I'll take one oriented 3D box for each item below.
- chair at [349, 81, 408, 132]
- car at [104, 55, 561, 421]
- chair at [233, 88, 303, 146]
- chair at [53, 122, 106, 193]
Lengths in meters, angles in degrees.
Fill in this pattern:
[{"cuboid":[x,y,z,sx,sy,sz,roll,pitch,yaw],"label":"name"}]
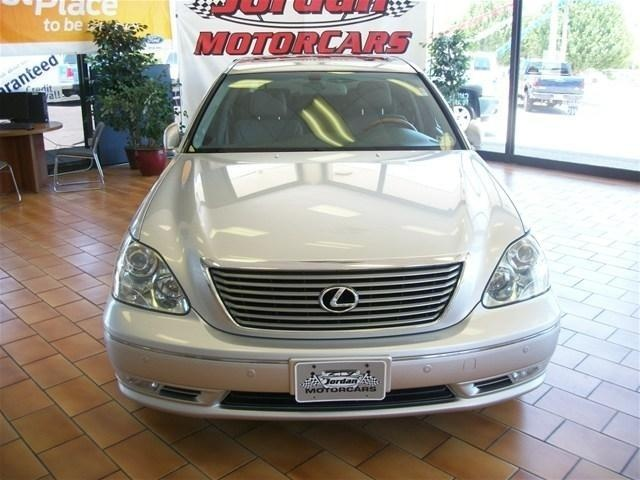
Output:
[{"cuboid":[0.279,-0.718,2.514,0.291,0.347,0.299,-4,8,-11],"label":"chair"},{"cuboid":[0.042,-0.208,2.047,1.599,1.119,1.654,0,20,0],"label":"car"},{"cuboid":[-0.270,-0.606,2.329,0.386,0.348,0.325,1,12,3],"label":"chair"},{"cuboid":[-3.090,-1.073,5.801,0.623,0.785,0.481,-7,15,-30],"label":"chair"}]
